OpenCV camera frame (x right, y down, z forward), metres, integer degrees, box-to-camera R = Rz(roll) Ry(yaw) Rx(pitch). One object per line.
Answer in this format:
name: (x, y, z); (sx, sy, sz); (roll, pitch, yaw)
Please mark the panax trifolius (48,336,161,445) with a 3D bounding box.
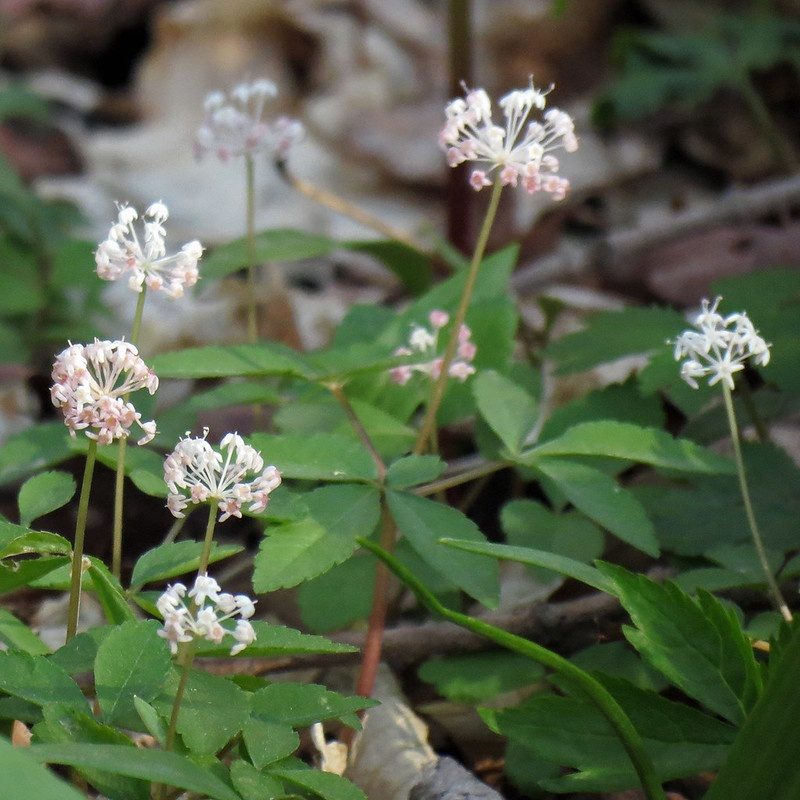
panax trifolius: (-0.423, -0.011, 1.426); (0.136, 0.143, 0.112); (-13, -7, -5)
